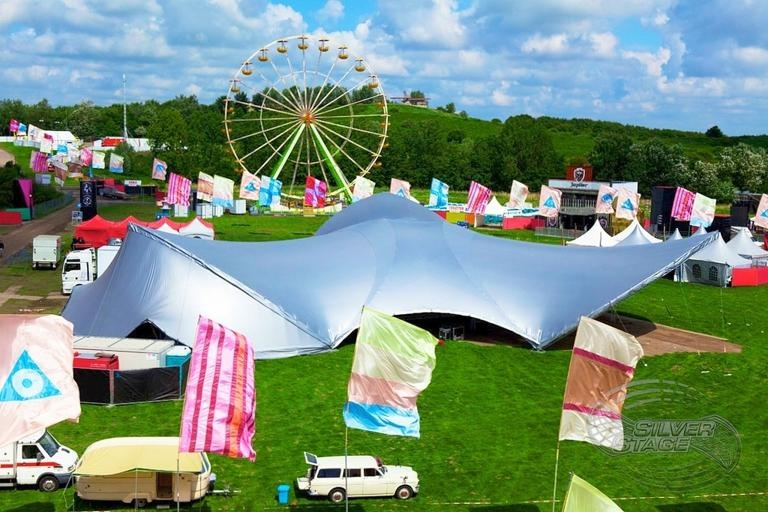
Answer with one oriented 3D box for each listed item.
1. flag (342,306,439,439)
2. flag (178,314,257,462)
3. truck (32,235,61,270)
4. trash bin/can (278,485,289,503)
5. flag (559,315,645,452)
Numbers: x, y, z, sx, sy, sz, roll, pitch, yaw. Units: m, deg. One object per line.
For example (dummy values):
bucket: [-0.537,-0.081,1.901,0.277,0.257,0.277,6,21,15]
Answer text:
flag: [0.263,5.903,54.024,3.900,6.161,1.130,4,7,5]
flag: [-8.205,6.688,53.736,3.535,6.667,2.342,3,7,-8]
truck: [-27.591,-0.444,87.259,1.628,1.727,3.016,0,8,-11]
trash bin/can: [-5.213,12.417,55.362,0.593,0.927,0.590,3,7,-7]
flag: [10.941,6.558,54.188,3.253,6.649,0.813,5,7,9]
